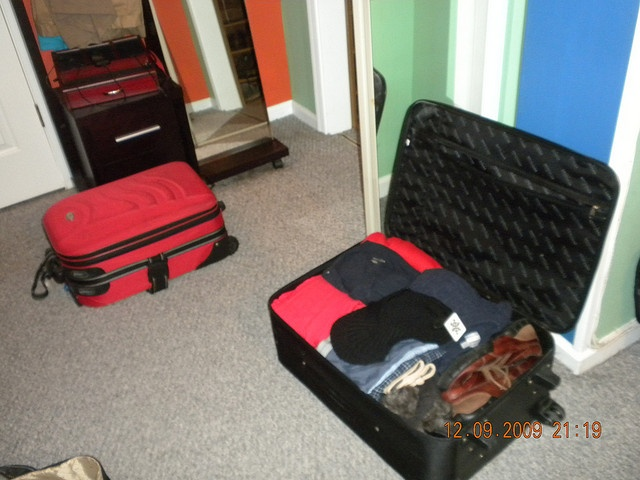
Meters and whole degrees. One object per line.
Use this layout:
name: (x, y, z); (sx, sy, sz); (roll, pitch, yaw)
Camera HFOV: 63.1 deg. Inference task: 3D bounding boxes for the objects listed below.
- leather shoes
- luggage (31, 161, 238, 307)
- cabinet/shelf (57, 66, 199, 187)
leather shoes: (0.498, 0.341, 1.519); (0.261, 0.079, 0.186); (-36, 35, -1)
luggage: (-0.734, -0.041, 2.292); (0.777, 0.348, 0.518); (-22, 51, -25)
cabinet/shelf: (-0.956, -0.543, 2.745); (0.552, 0.600, 0.570); (29, 50, 36)
